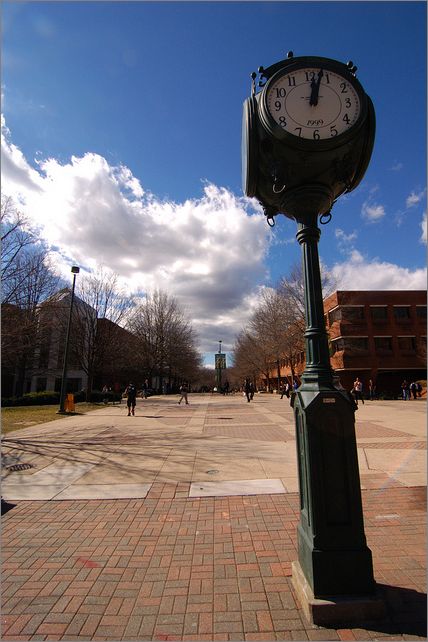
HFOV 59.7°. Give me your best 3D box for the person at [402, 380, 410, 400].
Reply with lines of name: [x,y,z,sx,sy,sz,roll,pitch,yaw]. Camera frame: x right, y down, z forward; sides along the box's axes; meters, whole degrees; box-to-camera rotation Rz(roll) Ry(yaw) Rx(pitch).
person: [14.492,5.309,28.082,0.340,1.362,1.695,-5,-12,23]

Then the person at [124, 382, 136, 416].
person: [-3.432,3.308,15.599,0.315,1.287,1.281,2,-11,-13]

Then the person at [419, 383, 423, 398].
person: [18.127,6.080,32.689,0.370,1.171,2.020,-6,-12,28]
